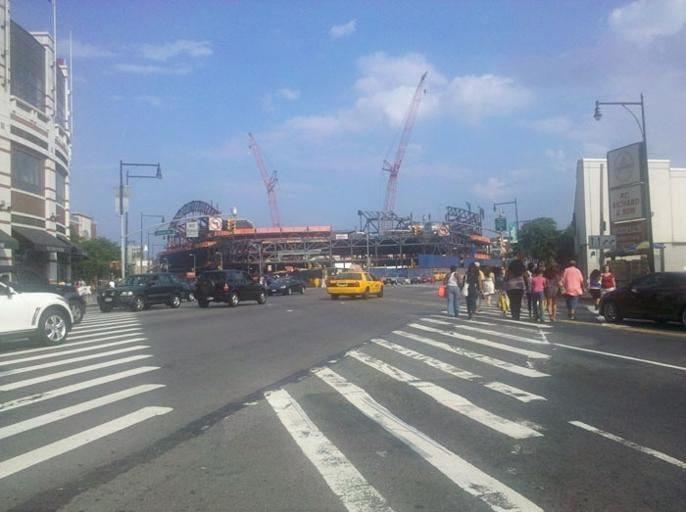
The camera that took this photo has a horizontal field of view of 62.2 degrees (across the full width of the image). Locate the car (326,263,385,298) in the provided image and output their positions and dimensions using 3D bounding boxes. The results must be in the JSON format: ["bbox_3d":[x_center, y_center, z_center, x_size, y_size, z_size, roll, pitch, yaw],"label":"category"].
[{"bbox_3d":[0.761,1.766,35.138,3.166,1.323,3.990,-3,-2,2],"label":"car"}]

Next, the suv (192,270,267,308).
[{"bbox_3d":[-5.861,1.627,30.101,1.609,1.671,3.666,-1,1,33],"label":"suv"}]

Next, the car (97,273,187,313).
[{"bbox_3d":[-9.466,1.696,27.153,1.313,1.771,3.955,-3,-2,35],"label":"car"}]

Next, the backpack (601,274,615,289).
[{"bbox_3d":[10.014,0.969,21.713,0.491,0.547,0.271,-4,-7,44],"label":"backpack"}]

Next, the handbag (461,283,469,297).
[{"bbox_3d":[4.309,1.188,20.192,0.260,0.632,0.356,-2,-9,16],"label":"handbag"}]

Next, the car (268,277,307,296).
[{"bbox_3d":[-4.802,2.431,47.337,2.064,1.027,3.709,-3,-2,18],"label":"car"}]

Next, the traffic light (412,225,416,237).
[{"bbox_3d":[8.713,-3.295,70.409,0.657,0.987,2.884,-2,-2,5],"label":"traffic light"}]
